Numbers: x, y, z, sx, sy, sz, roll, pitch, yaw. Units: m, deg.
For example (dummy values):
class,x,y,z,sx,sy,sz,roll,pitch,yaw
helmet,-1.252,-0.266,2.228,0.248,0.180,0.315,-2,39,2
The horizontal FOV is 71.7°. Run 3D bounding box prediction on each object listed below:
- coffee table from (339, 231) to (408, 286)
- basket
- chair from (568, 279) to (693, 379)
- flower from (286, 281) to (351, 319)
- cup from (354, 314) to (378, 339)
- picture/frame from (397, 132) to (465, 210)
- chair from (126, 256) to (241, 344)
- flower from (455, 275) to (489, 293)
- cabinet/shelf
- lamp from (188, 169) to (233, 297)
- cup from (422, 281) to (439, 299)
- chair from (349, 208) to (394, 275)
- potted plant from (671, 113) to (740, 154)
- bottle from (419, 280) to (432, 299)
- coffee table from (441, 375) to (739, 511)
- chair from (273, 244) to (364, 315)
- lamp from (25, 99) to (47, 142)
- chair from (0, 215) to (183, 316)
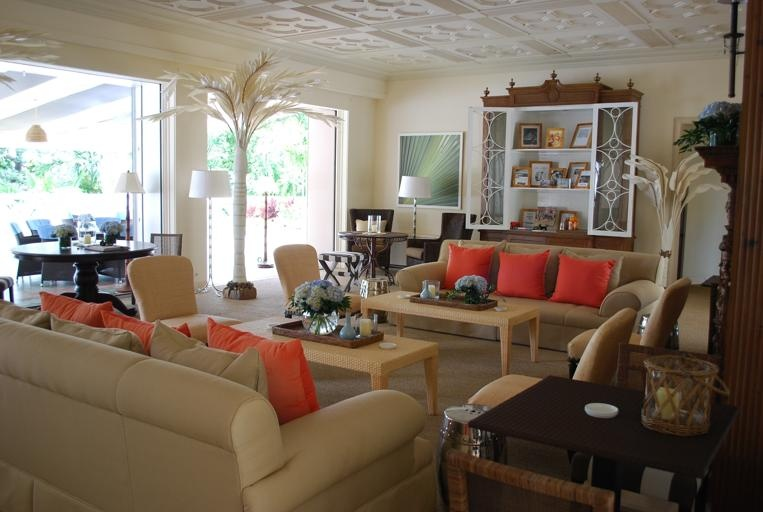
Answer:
class,x,y,z,sx,sy,sz,roll,pitch,yaw
coffee table,-0.144,0.054,9.248,1.233,0.794,1.253,2,1,37
basket,1.209,0.568,2.106,0.317,0.227,0.259,1,-5,11
chair,1.797,0.516,3.937,0.652,1.060,0.615,13,21,38
flower,-0.503,0.353,4.090,0.440,0.365,0.466,5,-7,-15
cup,-0.120,0.557,4.122,0.148,0.161,0.153,-1,-2,0
picture/frame,0.976,-1.635,9.976,1.479,1.525,0.080,8,13,36
chair,-1.660,0.501,4.689,0.899,0.997,0.809,-2,2,3
flower,0.870,0.263,5.146,0.238,0.085,0.189,1,4,19
cabinet/shelf,2.933,-1.583,8.423,2.774,3.064,0.941,3,5,31
lamp,-2.375,-0.475,7.374,0.547,1.408,0.533,-2,12,-41
cup,0.485,0.357,5.445,0.192,0.186,0.151,-2,-2,-8
chair,-0.239,-0.497,10.344,1.110,0.964,1.392,2,35,1
potted plant,1.651,-0.572,2.691,0.308,0.266,0.120,4,24,-43
bottle,0.467,0.345,5.443,0.132,0.172,0.165,0,-2,-4
coffee table,0.859,0.689,2.136,0.777,0.466,0.787,1,6,37
chair,-0.691,0.354,5.784,0.872,0.899,0.683,6,13,23
lamp,-4.830,-1.845,7.368,0.262,0.485,0.292,-5,8,-30
chair,-3.599,0.121,6.164,1.571,0.885,1.541,-6,12,-44
